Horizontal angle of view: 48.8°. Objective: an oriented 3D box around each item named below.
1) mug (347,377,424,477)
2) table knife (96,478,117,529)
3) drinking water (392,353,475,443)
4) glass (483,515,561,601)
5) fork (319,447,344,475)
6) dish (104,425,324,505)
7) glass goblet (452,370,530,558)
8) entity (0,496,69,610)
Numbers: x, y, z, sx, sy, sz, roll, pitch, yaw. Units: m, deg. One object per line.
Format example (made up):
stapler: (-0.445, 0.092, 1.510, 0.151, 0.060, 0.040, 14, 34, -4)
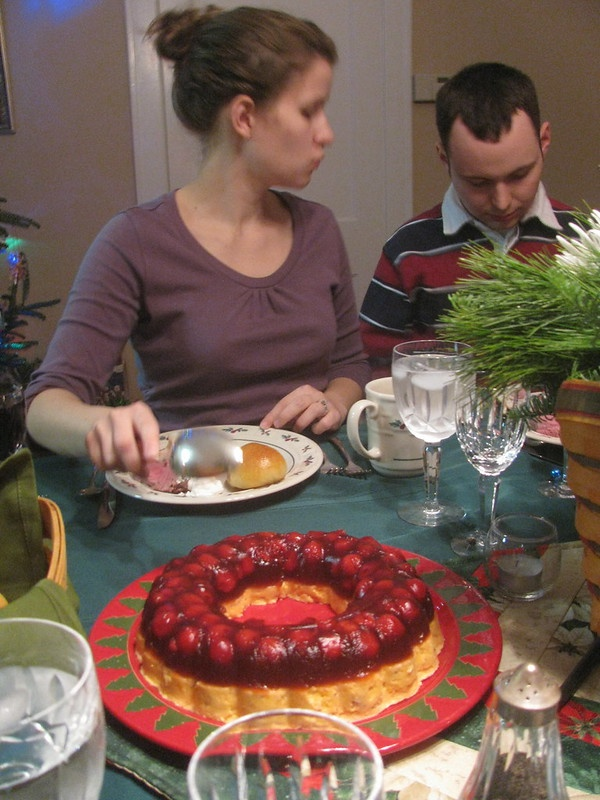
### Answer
mug: (0.117, 0.056, 0.937, 0.134, 0.112, 0.082, 0, 3, -42)
table knife: (-0.240, 0.126, 0.820, 0.015, 0.016, 0.125, -13, 18, -11)
drinking water: (0.149, -0.004, 0.741, 0.106, 0.102, 0.097, -3, 7, -3)
glass: (0.211, 0.148, 0.653, 0.075, 0.064, 0.072, 7, 22, 25)
fork: (0.048, 0.093, 0.973, 0.020, 0.006, 0.051, -13, 16, -23)
dish: (-0.072, 0.099, 0.881, 0.165, 0.020, 0.157, -12, 18, -33)
glass goblet: (0.210, 0.069, 0.731, 0.078, 0.181, 0.074, -8, 15, -38)
entity: (-0.200, 0.112, 0.505, 0.063, 0.026, 0.076, -6, 28, -11)
